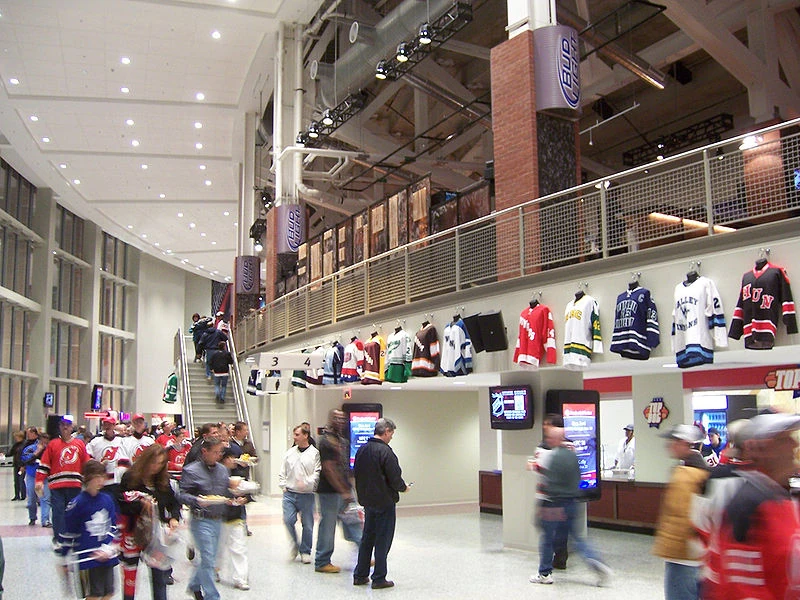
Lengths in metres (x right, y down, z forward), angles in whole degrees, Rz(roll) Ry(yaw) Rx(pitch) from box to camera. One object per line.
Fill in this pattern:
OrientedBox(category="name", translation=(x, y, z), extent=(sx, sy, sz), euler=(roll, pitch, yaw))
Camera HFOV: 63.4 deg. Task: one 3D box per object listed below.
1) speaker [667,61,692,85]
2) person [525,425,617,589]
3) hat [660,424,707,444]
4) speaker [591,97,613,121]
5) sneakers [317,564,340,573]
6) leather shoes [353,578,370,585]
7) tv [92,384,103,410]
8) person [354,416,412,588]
OrientedBox(category="speaker", translation=(8.833, -7.175, 20.462), extent=(0.775, 0.609, 0.413), euler=(1, -9, -16))
OrientedBox(category="person", translation=(2.088, 2.590, 8.233), extent=(0.924, 2.210, 1.169), euler=(-3, -9, 12))
OrientedBox(category="hat", translation=(2.368, 1.107, 5.294), extent=(0.335, 0.117, 0.216), euler=(12, -16, -35))
OrientedBox(category="speaker", translation=(7.038, -6.676, 22.560), extent=(0.760, 0.630, 0.649), euler=(-8, -11, 32))
OrientedBox(category="sneakers", translation=(-1.032, 3.865, 9.375), extent=(0.288, 0.134, 0.129), euler=(-5, -13, 22))
OrientedBox(category="leather shoes", translation=(-0.514, 3.734, 8.587), extent=(0.201, 0.093, 0.071), euler=(1, -4, -29))
OrientedBox(category="tv", translation=(-12.946, 4.159, 27.507), extent=(0.242, 1.082, 0.733), euler=(1, -9, -15))
OrientedBox(category="person", translation=(-0.242, 2.660, 8.524), extent=(0.694, 2.048, 0.689), euler=(-8, -15, 36))
